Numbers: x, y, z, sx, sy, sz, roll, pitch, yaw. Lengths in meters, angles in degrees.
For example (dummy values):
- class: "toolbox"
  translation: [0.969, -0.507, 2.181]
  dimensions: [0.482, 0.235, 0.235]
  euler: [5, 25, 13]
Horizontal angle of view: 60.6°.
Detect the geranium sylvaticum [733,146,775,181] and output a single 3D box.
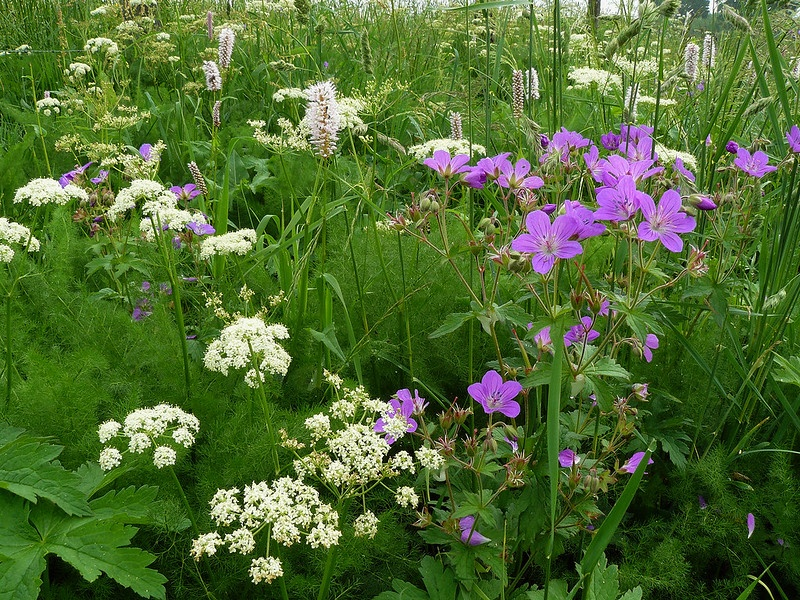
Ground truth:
- class: "geranium sylvaticum"
  translation: [1.702, -0.671, 3.298]
  dimensions: [0.175, 0.125, 0.176]
  euler: [10, 28, 21]
